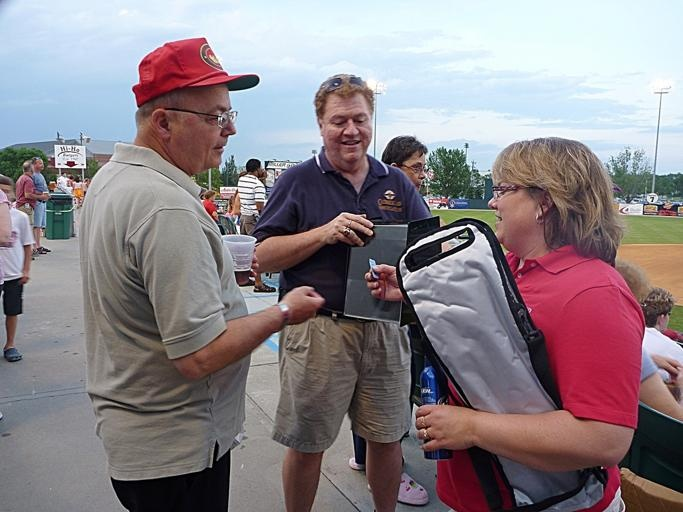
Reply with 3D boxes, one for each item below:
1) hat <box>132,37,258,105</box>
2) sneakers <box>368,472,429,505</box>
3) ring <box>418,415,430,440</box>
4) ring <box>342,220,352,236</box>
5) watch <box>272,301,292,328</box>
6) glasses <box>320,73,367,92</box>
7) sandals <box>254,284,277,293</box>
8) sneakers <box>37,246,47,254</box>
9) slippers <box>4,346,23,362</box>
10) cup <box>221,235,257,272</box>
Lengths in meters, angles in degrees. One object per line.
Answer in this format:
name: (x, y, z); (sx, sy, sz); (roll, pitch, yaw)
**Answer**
hat: (-0.639, -0.798, 2.134); (0.487, 0.240, 0.328); (-13, 14, 7)
sneakers: (0.461, 1.593, 3.371); (0.122, 0.139, 0.323); (3, -19, -16)
ring: (0.300, 0.644, 1.846); (0.024, 0.073, 0.067); (2, -7, -14)
ring: (0.032, -0.155, 2.671); (0.021, 0.064, 0.049); (-12, -2, 24)
watch: (-0.243, 0.250, 2.122); (0.055, 0.104, 0.099); (-3, -3, -20)
glasses: (0.015, -0.982, 2.816); (0.260, 0.101, 0.084); (2, 10, 1)
sandals: (-1.348, 0.586, 8.779); (0.382, 0.172, 0.150); (-2, 3, -12)
sneakers: (-7.414, -0.126, 12.424); (0.122, 0.163, 0.361); (6, 8, 17)
slippers: (-3.461, 1.052, 5.251); (0.101, 0.093, 0.208); (-3, 2, -42)
cup: (-0.530, -0.018, 2.580); (0.163, 0.203, 0.175); (0, 3, 0)
